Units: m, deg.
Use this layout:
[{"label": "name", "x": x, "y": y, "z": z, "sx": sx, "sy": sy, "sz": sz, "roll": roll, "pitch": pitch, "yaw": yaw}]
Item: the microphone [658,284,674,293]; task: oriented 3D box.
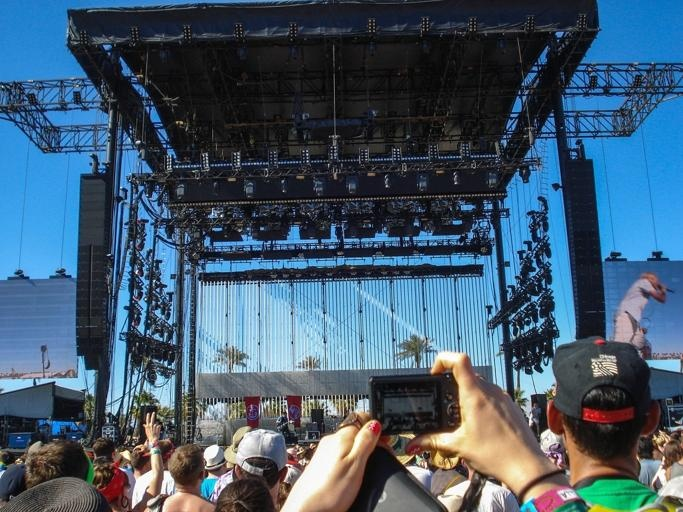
[{"label": "microphone", "x": 13.143, "y": 1.287, "z": 28.514, "sx": 0.943, "sy": 0.132, "sz": 0.165, "roll": 16, "pitch": -3, "yaw": -22}]

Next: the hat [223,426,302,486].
[{"label": "hat", "x": -0.840, "y": 2.234, "z": 7.769, "sx": 0.649, "sy": 0.566, "sz": 1.045, "roll": 0, "pitch": 0, "yaw": -2}]

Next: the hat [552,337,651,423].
[{"label": "hat", "x": 2.142, "y": 0.890, "z": 5.906, "sx": 0.841, "sy": 0.496, "sz": 1.231, "roll": -4, "pitch": 7, "yaw": 8}]

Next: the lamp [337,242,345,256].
[{"label": "lamp", "x": 0.015, "y": -0.314, "z": 29.099, "sx": 0.307, "sy": 0.556, "sz": 0.208, "roll": -2, "pitch": -15, "yaw": -4}]
